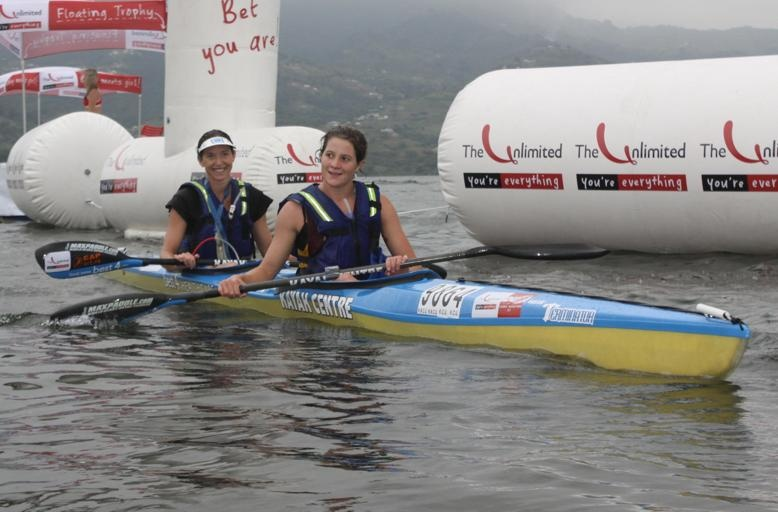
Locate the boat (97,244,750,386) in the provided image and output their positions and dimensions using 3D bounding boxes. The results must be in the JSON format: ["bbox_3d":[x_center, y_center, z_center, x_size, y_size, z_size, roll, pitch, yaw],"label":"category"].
[{"bbox_3d":[-0.290,0.516,9.157,8.929,0.593,1.134,-1,3,29],"label":"boat"}]
